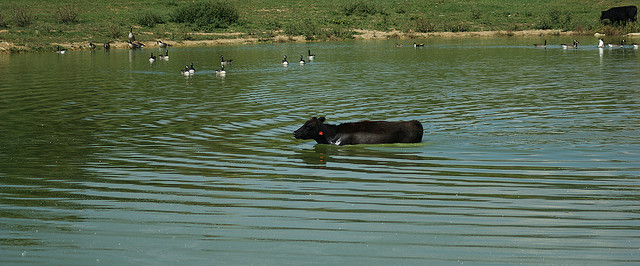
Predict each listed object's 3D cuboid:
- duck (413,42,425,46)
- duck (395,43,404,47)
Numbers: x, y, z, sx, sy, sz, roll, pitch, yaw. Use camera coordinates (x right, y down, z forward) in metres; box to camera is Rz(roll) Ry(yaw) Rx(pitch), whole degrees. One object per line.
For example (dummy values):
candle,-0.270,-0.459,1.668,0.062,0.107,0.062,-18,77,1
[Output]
duck,12.730,-11.421,115.112,1.707,0.615,0.312,1,56,-4
duck,10.201,-11.547,116.893,0.578,0.386,0.838,4,1,27
